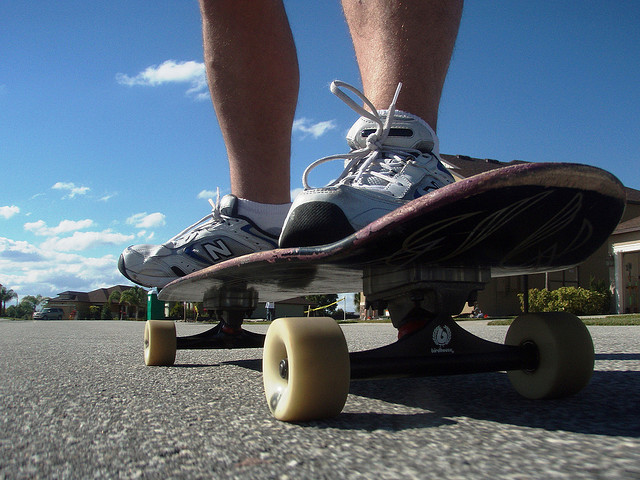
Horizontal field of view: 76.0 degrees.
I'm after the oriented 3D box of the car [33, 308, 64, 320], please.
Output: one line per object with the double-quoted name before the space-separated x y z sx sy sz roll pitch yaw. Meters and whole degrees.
"car" -25.140 6.798 37.850 1.625 1.042 2.535 -1 -9 -7
